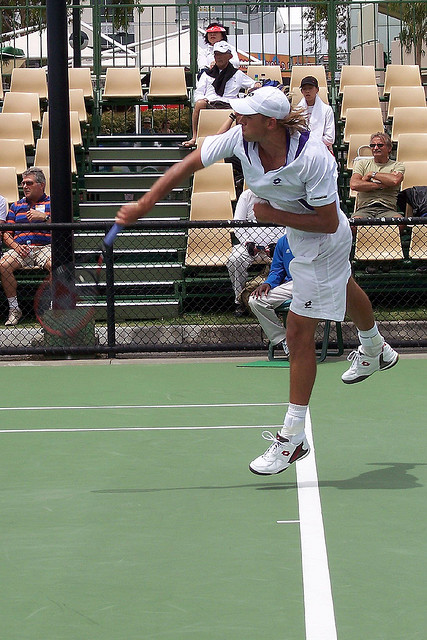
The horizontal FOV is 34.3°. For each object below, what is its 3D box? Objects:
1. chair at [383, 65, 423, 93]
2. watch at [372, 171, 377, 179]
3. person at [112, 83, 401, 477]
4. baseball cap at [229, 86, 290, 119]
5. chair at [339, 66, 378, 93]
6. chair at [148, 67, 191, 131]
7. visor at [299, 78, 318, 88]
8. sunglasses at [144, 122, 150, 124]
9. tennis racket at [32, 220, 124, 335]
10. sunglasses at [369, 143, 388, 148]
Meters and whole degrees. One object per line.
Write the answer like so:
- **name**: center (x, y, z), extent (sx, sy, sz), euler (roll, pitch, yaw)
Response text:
- **chair**: center (3.214, -4.192, 11.805), extent (0.795, 0.441, 0.521), euler (-1, 5, 0)
- **watch**: center (1.957, -1.800, 8.434), extent (0.053, 0.063, 0.077), euler (7, 1, 27)
- **person**: center (0.320, -0.300, 3.366), extent (1.625, 1.478, 0.634), euler (-10, 15, -28)
- **baseball cap**: center (0.194, -0.947, 2.990), extent (0.248, 0.099, 0.137), euler (5, 31, 5)
- **chair**: center (2.451, -4.165, 11.775), extent (0.856, 0.448, 0.538), euler (-1, 8, 0)
- **chair**: center (-0.813, -3.760, 11.595), extent (0.876, 1.044, 0.829), euler (-4, 17, -8)
- **visor**: center (1.294, -3.254, 9.369), extent (0.208, 0.098, 0.217), euler (-1, 6, 2)
- **sunglasses**: center (-1.537, -4.539, 15.731), extent (0.080, 0.016, 0.075), euler (-5, 8, -40)
- **tennis racket**: center (-1.355, -0.393, 6.672), extent (0.115, 0.544, 1.428), euler (-31, -9, -48)
- **sunglasses**: center (2.029, -2.176, 8.537), extent (0.193, 0.057, 0.074), euler (3, 8, 32)
